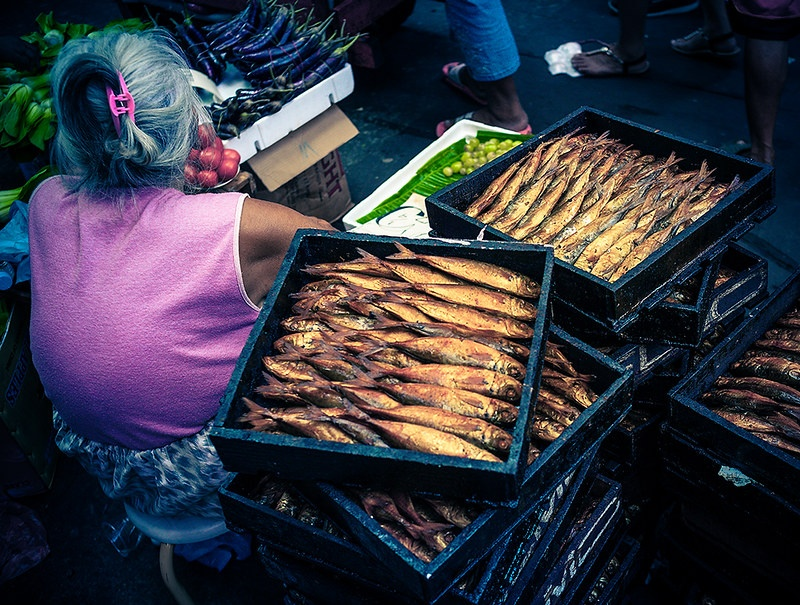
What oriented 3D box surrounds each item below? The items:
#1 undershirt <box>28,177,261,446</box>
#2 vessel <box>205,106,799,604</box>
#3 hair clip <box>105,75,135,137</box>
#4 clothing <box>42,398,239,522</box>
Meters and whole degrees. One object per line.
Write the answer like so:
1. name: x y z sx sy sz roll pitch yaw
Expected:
1. undershirt: -1.230 0.008 3.335 1.060 1.132 1.013 -3 -2 29
2. vessel: 0.344 0.282 3.206 1.706 0.567 2.852 30 60 29
3. hair clip: -1.116 -0.800 2.802 0.100 0.204 0.129 -12 36 5
4. clothing: -1.222 0.799 3.357 0.775 0.271 0.587 -4 29 -4
